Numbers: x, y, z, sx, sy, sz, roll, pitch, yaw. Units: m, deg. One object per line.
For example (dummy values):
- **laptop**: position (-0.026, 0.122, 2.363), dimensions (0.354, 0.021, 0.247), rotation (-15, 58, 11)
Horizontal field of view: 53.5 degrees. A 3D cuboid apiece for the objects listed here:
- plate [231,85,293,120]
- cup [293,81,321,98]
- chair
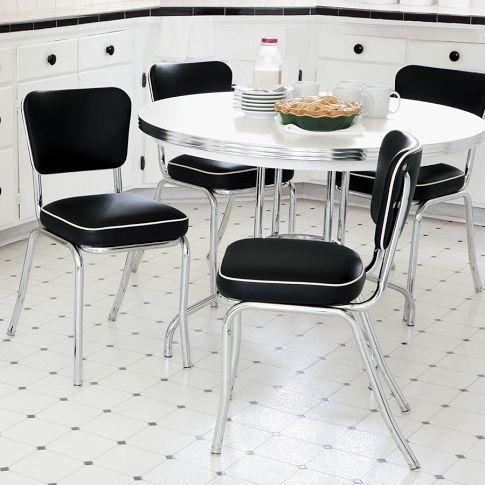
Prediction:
- **plate**: position (0.048, -0.433, 1.555), dimensions (0.157, 0.057, 0.141), rotation (-2, 13, -12)
- **cup**: position (0.214, -0.497, 1.577), dimensions (0.073, 0.044, 0.066), rotation (2, 17, 4)
- **chair**: position (-0.056, -0.011, 1.544), dimensions (1.142, 1.004, 1.064), rotation (5, 18, 10)
